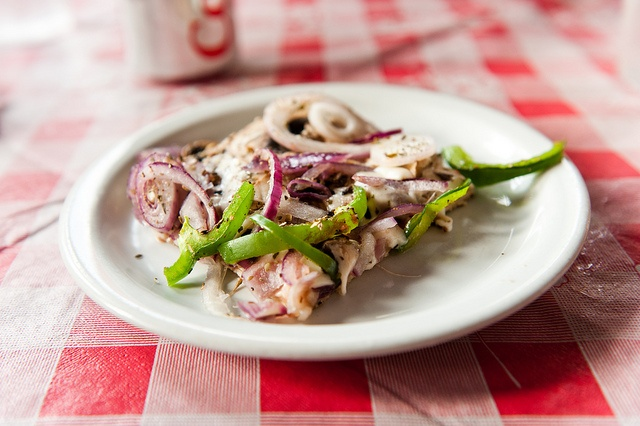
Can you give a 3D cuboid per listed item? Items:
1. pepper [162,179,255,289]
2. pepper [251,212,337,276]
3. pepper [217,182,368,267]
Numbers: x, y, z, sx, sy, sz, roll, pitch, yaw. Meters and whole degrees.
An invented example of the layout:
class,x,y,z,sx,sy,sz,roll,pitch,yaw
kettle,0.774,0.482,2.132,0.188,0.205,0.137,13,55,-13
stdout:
class,x,y,z,sx,sy,sz,roll,pitch,yaw
pepper,-0.407,0.107,1.918,0.125,0.471,0.206,-42,78,-15
pepper,-0.090,0.109,1.845,0.312,0.032,0.057,32,53,-2
pepper,-0.078,0.066,1.854,0.523,0.129,0.182,-17,58,-12
